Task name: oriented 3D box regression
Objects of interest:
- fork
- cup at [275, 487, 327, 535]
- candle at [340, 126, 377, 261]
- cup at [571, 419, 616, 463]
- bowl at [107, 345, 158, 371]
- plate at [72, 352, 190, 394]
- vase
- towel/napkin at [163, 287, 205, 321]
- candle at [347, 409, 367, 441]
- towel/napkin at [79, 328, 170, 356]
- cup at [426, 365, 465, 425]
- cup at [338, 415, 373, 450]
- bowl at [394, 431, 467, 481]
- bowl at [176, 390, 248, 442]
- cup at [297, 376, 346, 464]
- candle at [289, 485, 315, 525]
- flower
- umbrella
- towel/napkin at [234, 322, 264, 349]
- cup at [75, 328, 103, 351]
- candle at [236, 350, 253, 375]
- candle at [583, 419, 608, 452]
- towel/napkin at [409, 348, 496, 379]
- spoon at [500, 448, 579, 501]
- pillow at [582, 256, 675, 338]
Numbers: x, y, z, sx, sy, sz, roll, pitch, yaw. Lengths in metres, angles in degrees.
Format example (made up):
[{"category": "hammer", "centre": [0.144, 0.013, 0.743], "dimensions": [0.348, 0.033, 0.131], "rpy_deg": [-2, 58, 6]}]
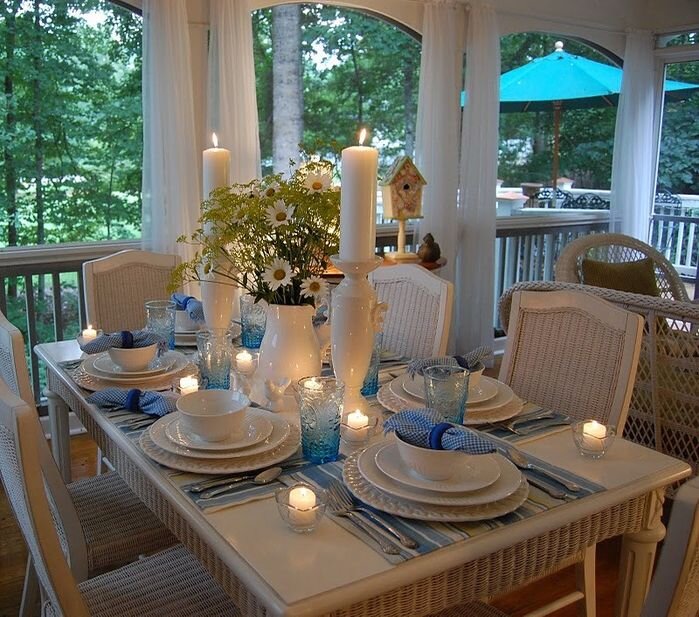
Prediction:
[{"category": "fork", "centre": [0.025, 0.318, 0.806], "dimensions": [0.046, 0.028, 0.195], "rpy_deg": [-9, 20, -30]}, {"category": "cup", "centre": [-0.070, 0.303, 0.795], "dimensions": [0.077, 0.056, 0.081], "rpy_deg": [-3, 3, 0]}, {"category": "candle", "centre": [0.018, -0.218, 1.120], "dimensions": [0.075, 0.241, 0.058], "rpy_deg": [0, 12, -2]}, {"category": "cup", "centre": [0.481, 0.260, 1.047], "dimensions": [0.071, 0.052, 0.072], "rpy_deg": [0, 7, 0]}, {"category": "bowl", "centre": [-0.593, 0.135, 1.442], "dimensions": [0.090, 0.049, 0.089], "rpy_deg": [0, -6, 0]}, {"category": "plate", "centre": [-0.585, 0.180, 1.453], "dimensions": [0.159, 0.032, 0.159], "rpy_deg": [6, 9, 24]}, {"category": "vase", "centre": [-0.146, 0.091, 1.326], "dimensions": [0.145, 0.210, 0.149], "rpy_deg": [9, 14, 35]}, {"category": "towel/napkin", "centre": [-0.581, -0.006, 1.813], "dimensions": [0.136, 0.043, 0.138], "rpy_deg": [26, 21, 38]}, {"category": "candle", "centre": [0.016, 0.247, 1.110], "dimensions": [0.050, 0.055, 0.049], "rpy_deg": [-6, 17, -16]}, {"category": "towel/napkin", "centre": [-0.641, 0.089, 1.489], "dimensions": [0.175, 0.063, 0.096], "rpy_deg": [2, -1, -20]}, {"category": "cup", "centre": [0.203, 0.190, 1.128], "dimensions": [0.096, 0.112, 0.100], "rpy_deg": [2, 4, 0]}, {"category": "cup", "centre": [0.012, 0.259, 1.109], "dimensions": [0.065, 0.047, 0.062], "rpy_deg": [1, -2, 0]}, {"category": "bowl", "centre": [0.129, 0.236, 0.871], "dimensions": [0.078, 0.042, 0.076], "rpy_deg": [9, -2, 0]}, {"category": "bowl", "centre": [-0.271, 0.228, 1.049], "dimensions": [0.127, 0.061, 0.125], "rpy_deg": [-3, 0, 0]}, {"category": "cup", "centre": [-0.055, 0.221, 1.028], "dimensions": [0.114, 0.136, 0.113], "rpy_deg": [0, -3, 0]}, {"category": "candle", "centre": [-0.070, 0.285, 0.775], "dimensions": [0.041, 0.045, 0.041], "rpy_deg": [0, 14, -1]}, {"category": "flower", "centre": [-0.225, -0.198, 1.340], "dimensions": [0.498, 0.357, 0.306], "rpy_deg": [5, 12, 23]}, {"category": "umbrella", "centre": [1.946, -1.968, 4.718], "dimensions": [1.536, 1.278, 1.524], "rpy_deg": [-18, 27, -36]}, {"category": "towel/napkin", "centre": [-0.332, 0.077, 1.775], "dimensions": [0.102, 0.106, 0.099], "rpy_deg": [5, 3, 5]}, {"category": "cup", "centre": [-0.815, 0.097, 1.648], "dimensions": [0.070, 0.068, 0.063], "rpy_deg": [2, 5, 18]}, {"category": "candle", "centre": [-0.310, 0.154, 1.519], "dimensions": [0.052, 0.058, 0.052], "rpy_deg": [9, 13, 38]}, {"category": "candle", "centre": [0.486, 0.250, 1.046], "dimensions": [0.047, 0.053, 0.050], "rpy_deg": [-2, 16, -2]}, {"category": "towel/napkin", "centre": [0.254, 0.126, 1.271], "dimensions": [0.131, 0.035, 0.096], "rpy_deg": [-1, 2, -28]}, {"category": "spoon", "centre": [0.340, 0.299, 0.963], "dimensions": [0.036, 0.009, 0.131], "rpy_deg": [-1, 12, -25]}, {"category": "pillow", "centre": [1.287, -0.068, 2.432], "dimensions": [0.462, 0.400, 0.159], "rpy_deg": [4, -10, -19]}]
